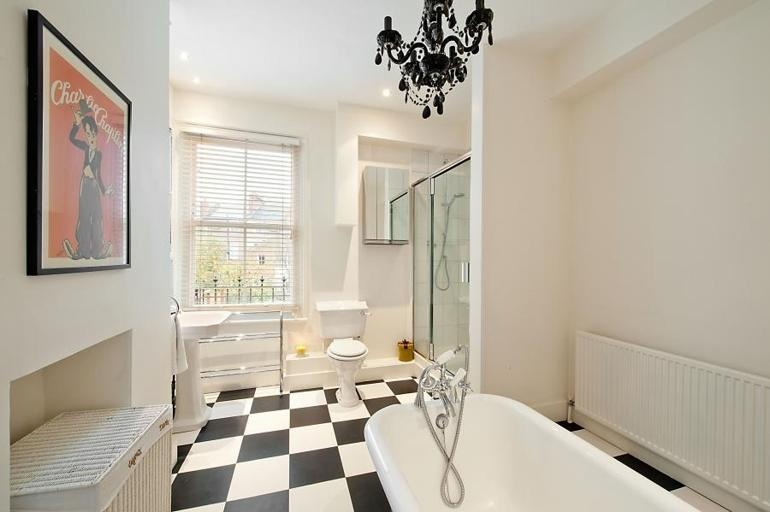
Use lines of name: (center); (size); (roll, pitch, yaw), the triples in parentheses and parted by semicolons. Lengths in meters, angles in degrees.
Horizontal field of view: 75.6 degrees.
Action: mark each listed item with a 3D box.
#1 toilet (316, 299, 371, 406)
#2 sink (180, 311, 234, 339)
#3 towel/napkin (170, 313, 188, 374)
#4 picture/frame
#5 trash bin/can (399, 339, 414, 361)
toilet: (-0.401, 0.914, 4.672); (0.536, 0.910, 0.665); (0, 11, -5)
sink: (-1.543, 0.592, 4.229); (0.398, 0.189, 0.619); (-1, 0, -22)
towel/napkin: (-1.595, 0.672, 3.811); (0.097, 0.443, 0.220); (-2, 1, -24)
picture/frame: (-1.678, -0.575, 2.726); (0.110, 1.337, 0.539); (0, 1, 26)
trash bin/can: (0.215, 0.986, 5.141); (0.176, 0.197, 0.182); (1, -6, -19)
